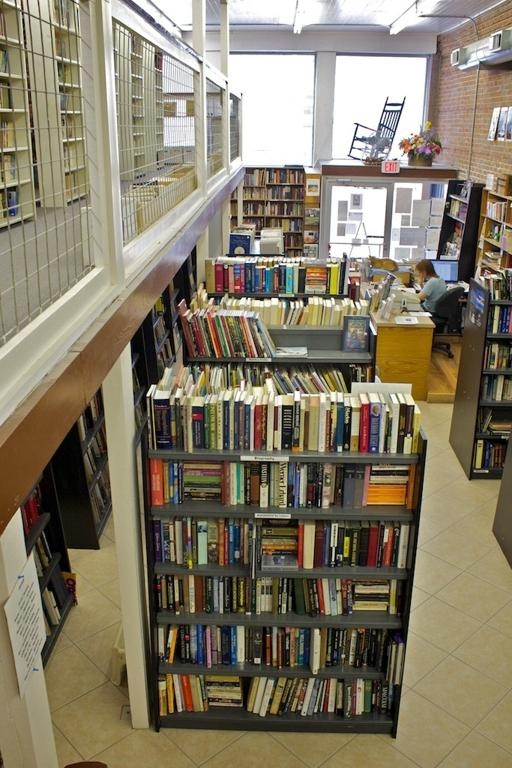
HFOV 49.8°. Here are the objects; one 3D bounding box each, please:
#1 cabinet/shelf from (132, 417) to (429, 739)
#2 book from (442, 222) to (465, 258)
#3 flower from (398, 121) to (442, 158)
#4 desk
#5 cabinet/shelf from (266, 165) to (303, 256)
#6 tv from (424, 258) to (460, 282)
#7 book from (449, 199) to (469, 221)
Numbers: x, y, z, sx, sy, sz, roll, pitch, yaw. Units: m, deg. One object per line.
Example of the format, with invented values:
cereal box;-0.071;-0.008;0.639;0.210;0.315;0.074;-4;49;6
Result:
cabinet/shelf;0.084;0.980;2.883;1.427;1.940;0.677;-1;16;0
book;4.067;-3.006;11.460;0.177;0.678;0.462;7;10;-14
flower;3.494;-5.263;11.734;0.659;0.694;0.669;-6;21;-23
desk;1.694;-0.384;6.423;0.619;1.247;0.698;-1;25;3
cabinet/shelf;0.695;-4.139;13.270;0.928;2.482;0.278;3;48;7
tv;3.520;-2.177;10.330;0.606;0.607;0.499;0;15;4
book;4.073;-3.586;11.116;0.112;0.564;0.474;1;4;-17
